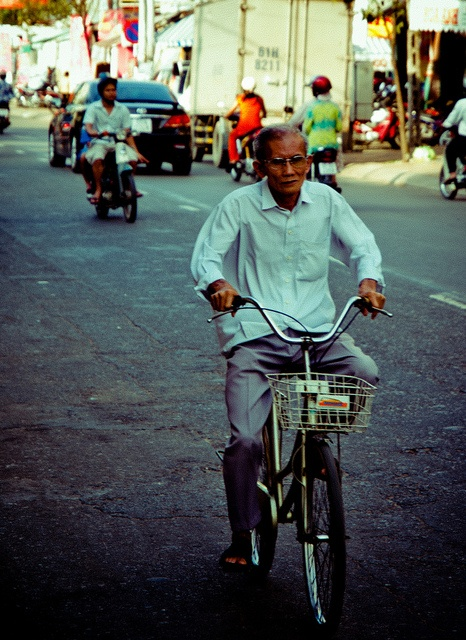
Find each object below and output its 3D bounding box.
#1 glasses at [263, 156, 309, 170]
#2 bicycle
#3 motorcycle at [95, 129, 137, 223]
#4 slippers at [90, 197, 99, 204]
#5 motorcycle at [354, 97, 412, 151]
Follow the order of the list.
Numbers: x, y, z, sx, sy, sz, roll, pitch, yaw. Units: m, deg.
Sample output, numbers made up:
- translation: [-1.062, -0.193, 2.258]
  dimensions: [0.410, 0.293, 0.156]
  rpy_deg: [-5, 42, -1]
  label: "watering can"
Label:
- translation: [0.171, -0.510, 3.053]
  dimensions: [0.137, 0.047, 0.060]
  rpy_deg: [2, 14, 0]
  label: "glasses"
- translation: [0.207, 0.414, 2.834]
  dimensions: [0.488, 0.951, 0.754]
  rpy_deg: [1, 14, -3]
  label: "bicycle"
- translation: [-1.371, -1.632, 11.279]
  dimensions: [0.620, 0.920, 0.399]
  rpy_deg: [6, 15, 14]
  label: "motorcycle"
- translation: [-1.642, -1.423, 11.284]
  dimensions: [0.086, 0.075, 0.045]
  rpy_deg: [1, -6, 4]
  label: "slippers"
- translation: [4.249, -5.680, 27.230]
  dimensions: [2.326, 1.473, 1.238]
  rpy_deg: [-14, 16, -36]
  label: "motorcycle"
